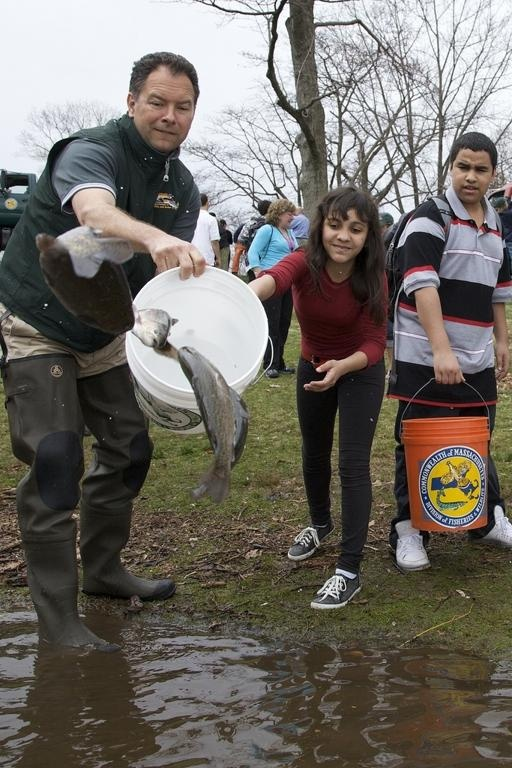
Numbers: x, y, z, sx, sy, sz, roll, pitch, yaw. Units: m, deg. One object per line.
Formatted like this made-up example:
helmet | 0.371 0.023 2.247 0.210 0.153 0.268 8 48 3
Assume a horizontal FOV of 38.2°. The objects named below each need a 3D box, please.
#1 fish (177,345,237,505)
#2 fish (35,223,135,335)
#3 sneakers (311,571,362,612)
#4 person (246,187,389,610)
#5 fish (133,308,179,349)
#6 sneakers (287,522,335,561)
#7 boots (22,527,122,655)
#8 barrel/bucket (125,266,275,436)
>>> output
fish | -0.126 0.103 1.939 0.149 0.400 0.331 0 4 -6
fish | -0.413 -0.244 1.812 0.216 0.224 0.208 -1 4 -11
sneakers | 0.330 0.844 3.034 0.097 0.084 0.244 2 6 40
person | 0.313 0.040 3.202 0.486 1.714 0.743 1 4 9
fish | -0.305 -0.160 2.176 0.105 0.122 0.237 1 3 6
sneakers | 0.278 0.754 3.588 0.104 0.089 0.274 17 25 31
boots | -0.650 0.723 2.577 0.300 0.378 0.156 3 5 36
barrel/bucket | -0.184 -0.106 2.410 0.531 0.505 0.400 15 -29 -13
